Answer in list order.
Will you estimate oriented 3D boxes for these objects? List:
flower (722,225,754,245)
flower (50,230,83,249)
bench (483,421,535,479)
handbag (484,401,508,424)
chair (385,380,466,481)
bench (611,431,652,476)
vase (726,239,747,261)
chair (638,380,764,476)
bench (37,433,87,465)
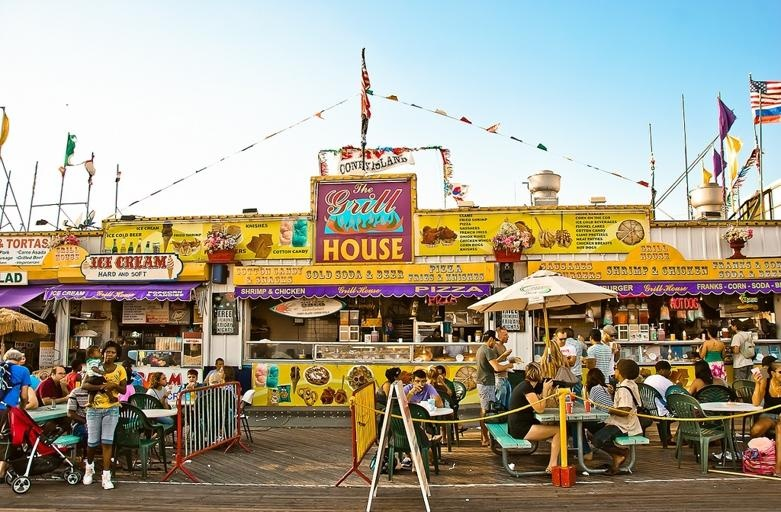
[{"bbox_3d":[9.274,-0.555,23.479,0.511,0.298,0.567,7,-6,-28],"label":"flower"},{"bbox_3d":[-9.104,-0.457,24.891,0.705,0.496,0.307,0,-6,10],"label":"flower"},{"bbox_3d":[2.467,3.943,18.088,0.932,0.931,1.897,0,-5,6],"label":"bench"},{"bbox_3d":[2.306,3.375,19.000,0.519,0.451,0.368,0,-8,-1],"label":"handbag"},{"bbox_3d":[0.500,3.395,17.837,1.127,2.059,2.150,1,-5,3],"label":"chair"},{"bbox_3d":[4.780,4.105,17.563,0.693,0.737,1.198,-1,-16,7],"label":"bench"},{"bbox_3d":[9.269,-0.163,23.544,0.524,0.382,0.496,4,-6,-10],"label":"vase"},{"bbox_3d":[6.248,3.535,17.987,1.621,1.549,1.745,-1,-6,20],"label":"chair"},{"bbox_3d":[-6.585,3.920,17.969,0.821,0.851,0.672,-7,-15,28],"label":"bench"}]
